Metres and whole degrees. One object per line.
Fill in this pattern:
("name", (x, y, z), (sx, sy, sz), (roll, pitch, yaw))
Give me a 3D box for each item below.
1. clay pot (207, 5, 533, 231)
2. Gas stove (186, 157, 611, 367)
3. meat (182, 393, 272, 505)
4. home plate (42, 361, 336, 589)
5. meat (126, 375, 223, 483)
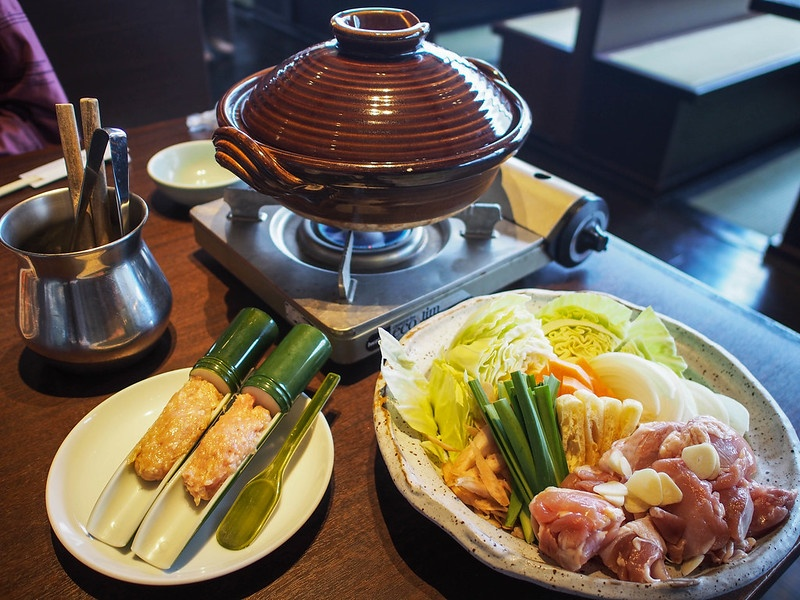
("clay pot", (-0.048, -0.308, 1.062), (0.468, 0.240, 0.398), (-26, 45, -32))
("Gas stove", (-0.046, -0.247, 1.198), (0.515, 0.133, 0.509), (-26, 46, -33))
("meat", (-0.265, 0.232, 0.984), (0.085, 0.050, 0.151), (35, 65, 1))
("home plate", (-0.350, 0.269, 0.991), (0.299, 0.055, 0.298), (-31, 54, -34))
("meat", (-0.332, 0.195, 0.945), (0.083, 0.053, 0.159), (31, 67, 9))
